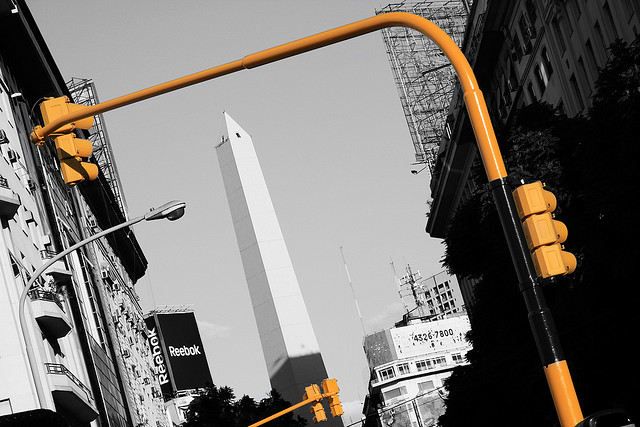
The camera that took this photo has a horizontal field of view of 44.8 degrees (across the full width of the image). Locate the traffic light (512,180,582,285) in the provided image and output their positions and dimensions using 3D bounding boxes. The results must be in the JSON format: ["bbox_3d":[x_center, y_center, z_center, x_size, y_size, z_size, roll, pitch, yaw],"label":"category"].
[{"bbox_3d":[4.061,0.312,14.190,0.821,1.866,0.403,-18,-16,14],"label":"traffic light"}]

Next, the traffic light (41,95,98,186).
[{"bbox_3d":[-5.330,-1.655,16.514,1.011,2.157,0.647,-10,-16,-16],"label":"traffic light"}]
